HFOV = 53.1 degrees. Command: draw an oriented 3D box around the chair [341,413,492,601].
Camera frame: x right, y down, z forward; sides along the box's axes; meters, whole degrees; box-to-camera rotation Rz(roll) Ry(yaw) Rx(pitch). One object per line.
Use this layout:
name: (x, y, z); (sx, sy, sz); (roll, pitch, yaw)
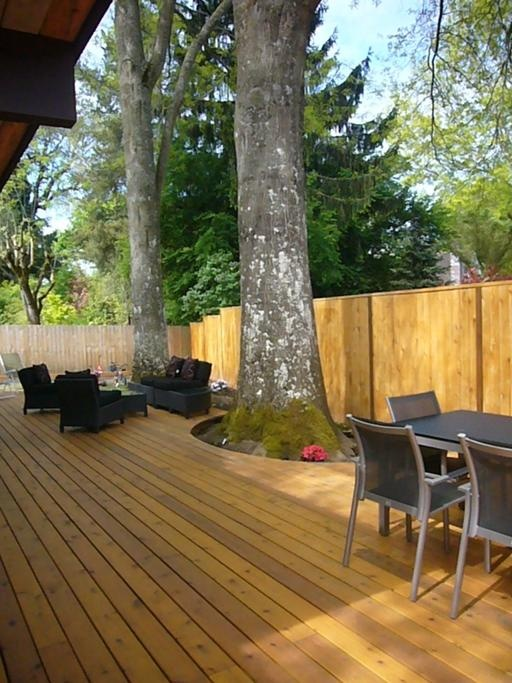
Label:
chair: (0.894, 0.799, 3.239); (0.874, 1.209, 0.792); (-5, 7, -37)

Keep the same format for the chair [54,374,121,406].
chair: (-2.503, 0.707, 7.557); (0.435, 0.499, 0.810); (0, 5, 6)

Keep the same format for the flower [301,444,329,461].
flower: (0.654, 1.266, 5.820); (0.307, 0.177, 0.247); (-1, 0, 9)

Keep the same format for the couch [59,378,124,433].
couch: (-2.500, 0.882, 7.740); (0.659, 0.815, 0.968); (-4, -3, 15)

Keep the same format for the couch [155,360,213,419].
couch: (-1.422, 0.882, 9.612); (0.968, 1.088, 1.580); (-1, 2, -38)
